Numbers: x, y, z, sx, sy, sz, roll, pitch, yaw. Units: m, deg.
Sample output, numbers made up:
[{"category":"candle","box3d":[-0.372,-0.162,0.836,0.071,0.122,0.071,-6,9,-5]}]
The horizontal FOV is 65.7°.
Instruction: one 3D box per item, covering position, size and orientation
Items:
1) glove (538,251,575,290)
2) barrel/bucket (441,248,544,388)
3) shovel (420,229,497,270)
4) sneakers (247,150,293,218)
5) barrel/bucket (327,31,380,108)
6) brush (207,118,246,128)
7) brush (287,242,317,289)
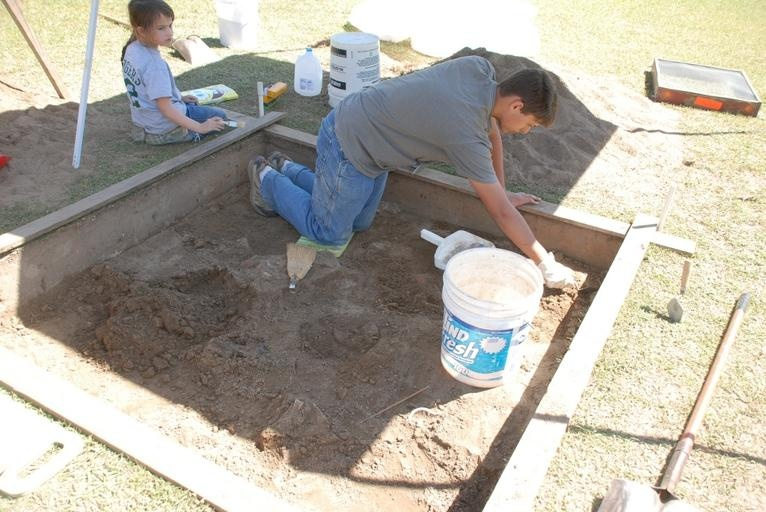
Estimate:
[{"category":"glove","box3d":[1.104,0.105,3.887,0.127,0.195,0.192,-4,42,6]},{"category":"barrel/bucket","box3d":[0.665,0.419,3.847,0.617,0.631,0.590,3,31,-2]},{"category":"shovel","box3d":[0.540,-0.082,4.391,0.491,0.116,0.278,18,50,36]},{"category":"sneakers","box3d":[-0.925,-0.598,4.879,0.232,0.301,0.657,7,80,-24]},{"category":"barrel/bucket","box3d":[-0.257,-1.806,5.817,0.598,0.581,0.583,0,31,0]},{"category":"brush","box3d":[-1.327,-1.121,5.027,0.289,0.067,0.091,-2,77,-12]},{"category":"brush","box3d":[-0.625,0.094,4.279,0.210,0.077,0.341,21,53,-18]}]
